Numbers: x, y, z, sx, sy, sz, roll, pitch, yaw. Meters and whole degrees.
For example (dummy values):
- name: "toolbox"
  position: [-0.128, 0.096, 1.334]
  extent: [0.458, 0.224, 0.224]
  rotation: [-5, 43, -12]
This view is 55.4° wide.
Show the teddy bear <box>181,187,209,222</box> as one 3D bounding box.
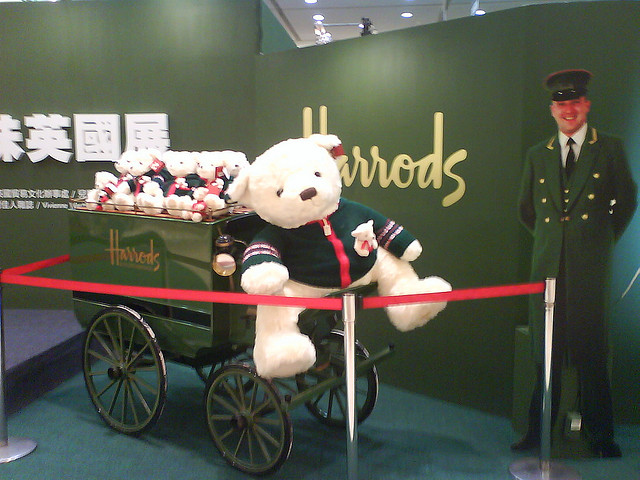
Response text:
- name: "teddy bear"
  position: [-0.722, -0.210, 3.505]
  extent: [0.151, 0.178, 0.209]
  rotation: [2, 9, -11]

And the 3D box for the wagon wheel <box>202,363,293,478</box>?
- name: "wagon wheel"
  position: [-0.421, 1.061, 3.531]
  extent: [0.648, 0.633, 0.198]
  rotation: [11, 15, 40]

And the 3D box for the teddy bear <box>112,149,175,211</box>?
- name: "teddy bear"
  position: [-1.153, -0.387, 3.895]
  extent: [0.370, 0.428, 0.326]
  rotation: [-6, 3, 1]

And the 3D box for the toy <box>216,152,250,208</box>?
- name: "toy"
  position: [-0.543, -0.387, 3.739]
  extent: [0.190, 0.365, 0.206]
  rotation: [5, 12, 5]

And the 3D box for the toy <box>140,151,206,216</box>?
- name: "toy"
  position: [-0.869, -0.330, 3.645]
  extent: [0.333, 0.414, 0.331]
  rotation: [6, 14, -21]

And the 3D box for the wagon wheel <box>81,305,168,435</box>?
- name: "wagon wheel"
  position: [-1.229, 0.826, 3.842]
  extent: [0.775, 0.756, 0.173]
  rotation: [-19, -9, 33]

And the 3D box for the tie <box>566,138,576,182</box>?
- name: "tie"
  position: [1.490, -0.486, 3.627]
  extent: [0.058, 0.233, 0.032]
  rotation: [6, 9, 14]

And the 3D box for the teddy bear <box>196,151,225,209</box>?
- name: "teddy bear"
  position: [-0.671, -0.363, 3.748]
  extent: [0.205, 0.335, 0.185]
  rotation: [-1, 0, 29]

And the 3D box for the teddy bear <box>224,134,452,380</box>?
- name: "teddy bear"
  position: [-0.012, 0.049, 3.319]
  extent: [1.265, 0.925, 1.088]
  rotation: [-26, 45, -30]

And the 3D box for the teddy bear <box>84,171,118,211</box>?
- name: "teddy bear"
  position: [-1.382, -0.316, 3.899]
  extent: [0.356, 0.232, 0.208]
  rotation: [10, 11, 37]

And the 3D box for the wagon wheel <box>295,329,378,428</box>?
- name: "wagon wheel"
  position: [0.173, 0.708, 4.002]
  extent: [0.367, 0.087, 0.365]
  rotation: [0, -29, 0]
